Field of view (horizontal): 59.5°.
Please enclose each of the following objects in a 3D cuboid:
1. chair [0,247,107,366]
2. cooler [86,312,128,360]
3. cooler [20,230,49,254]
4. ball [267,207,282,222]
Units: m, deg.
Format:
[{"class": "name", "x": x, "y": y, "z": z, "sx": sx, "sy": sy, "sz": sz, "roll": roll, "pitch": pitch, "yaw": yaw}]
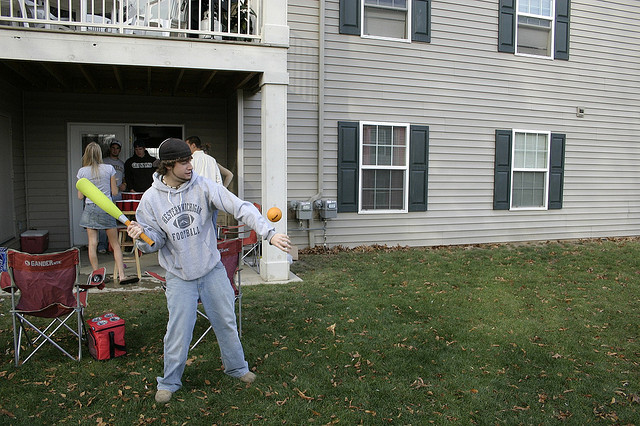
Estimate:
[{"class": "chair", "x": -3.613, "y": 1.151, "z": 7.402, "sx": 1.269, "sy": 1.440, "sz": 1.012, "roll": 7, "pitch": 11, "yaw": 33}, {"class": "cooler", "x": -2.751, "y": 1.577, "z": 7.360, "sx": 0.493, "sy": 0.485, "sz": 0.467, "roll": -3, "pitch": 7, "yaw": -37}, {"class": "cooler", "x": -5.700, "y": 0.556, "z": 11.173, "sx": 0.376, "sy": 0.387, "sz": 0.622, "roll": -1, "pitch": 2, "yaw": -15}, {"class": "ball", "x": -0.511, "y": 0.016, "z": 6.344, "sx": 0.149, "sy": 0.148, "sz": 0.081, "roll": 45, "pitch": 6, "yaw": -1}]
